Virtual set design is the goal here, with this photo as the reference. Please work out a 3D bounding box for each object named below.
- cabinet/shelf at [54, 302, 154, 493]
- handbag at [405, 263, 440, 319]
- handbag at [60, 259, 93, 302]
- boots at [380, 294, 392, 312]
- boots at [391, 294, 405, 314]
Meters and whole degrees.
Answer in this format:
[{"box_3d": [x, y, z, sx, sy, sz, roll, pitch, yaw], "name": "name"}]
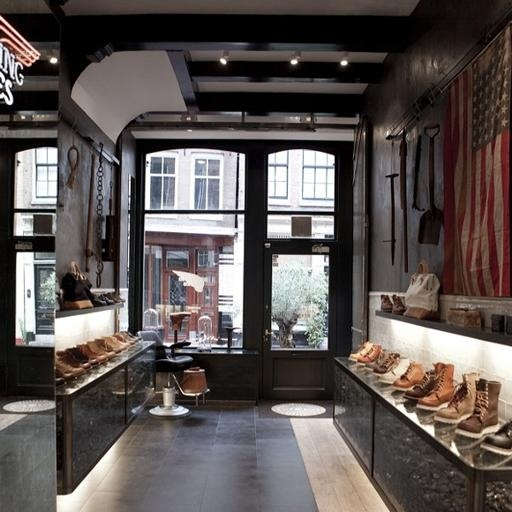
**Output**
[{"box_3d": [-1.346, 1.202, 4.279, 0.314, 0.835, 2.252, 0, -3, -1], "name": "cabinet/shelf"}, {"box_3d": [1.195, 0.239, 3.563, 0.120, 0.413, 0.311, 5, -2, -11], "name": "handbag"}, {"box_3d": [-1.540, 0.266, 4.323, 0.192, 0.468, 0.404, -5, -5, 3], "name": "handbag"}, {"box_3d": [1.168, 0.419, 4.391, 0.083, 0.140, 0.228, 0, -3, 16], "name": "boots"}, {"box_3d": [1.154, 0.405, 3.996, 0.060, 0.110, 0.216, -2, -15, 6], "name": "boots"}]
